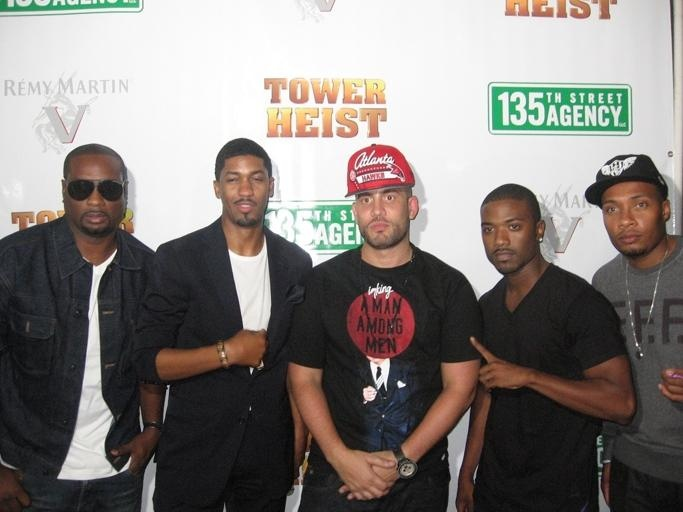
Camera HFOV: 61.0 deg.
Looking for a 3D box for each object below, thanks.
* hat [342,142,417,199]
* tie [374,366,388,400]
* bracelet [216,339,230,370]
[{"bbox_3d":[0.213,-0.505,3.405,0.306,0.205,0.334,-3,14,22],"label":"hat"},{"bbox_3d":[0.238,0.726,3.337,0.099,0.140,0.037,-9,-6,-3],"label":"tie"},{"bbox_3d":[-0.679,0.564,3.331,0.031,0.115,0.116,-13,-36,-10],"label":"bracelet"}]
